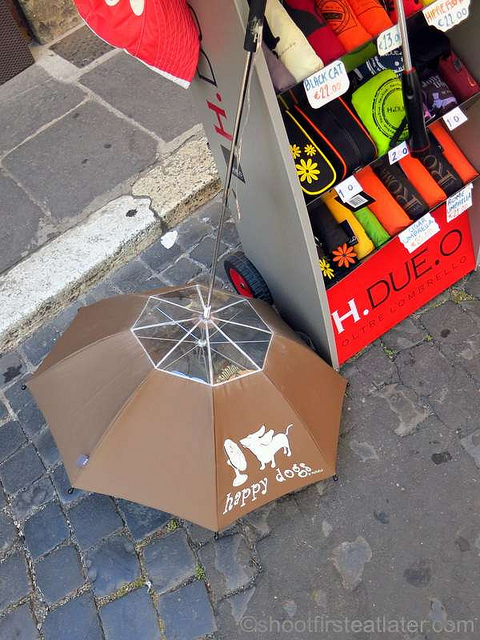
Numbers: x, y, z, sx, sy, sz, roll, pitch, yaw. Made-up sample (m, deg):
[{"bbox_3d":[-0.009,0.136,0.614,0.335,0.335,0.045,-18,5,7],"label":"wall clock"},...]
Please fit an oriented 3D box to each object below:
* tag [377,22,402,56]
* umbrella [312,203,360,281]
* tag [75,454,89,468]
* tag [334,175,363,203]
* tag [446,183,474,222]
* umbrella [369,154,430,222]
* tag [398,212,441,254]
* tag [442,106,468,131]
[{"bbox_3d":[0.587,-1.090,2.157,0.048,0.115,0.147,26,64,30],"label":"tag"},{"bbox_3d":[0.466,-0.391,2.729,0.101,0.346,0.257,-19,33,16],"label":"umbrella"},{"bbox_3d":[-0.646,0.581,2.273,0.040,0.020,0.051,20,78,30],"label":"tag"},{"bbox_3d":[0.486,-0.591,2.484,0.151,0.100,0.035,-42,27,-17],"label":"tag"},{"bbox_3d":[1.196,-0.651,3.026,0.198,0.145,0.011,-42,55,-11],"label":"tag"},{"bbox_3d":[0.839,-0.671,2.958,0.241,0.095,0.396,-39,82,-2],"label":"umbrella"},{"bbox_3d":[0.936,-0.461,2.909,0.158,0.006,0.295,9,59,9],"label":"tag"},{"bbox_3d":[1.019,-0.962,2.674,0.106,0.105,0.058,-33,8,-36],"label":"tag"}]
